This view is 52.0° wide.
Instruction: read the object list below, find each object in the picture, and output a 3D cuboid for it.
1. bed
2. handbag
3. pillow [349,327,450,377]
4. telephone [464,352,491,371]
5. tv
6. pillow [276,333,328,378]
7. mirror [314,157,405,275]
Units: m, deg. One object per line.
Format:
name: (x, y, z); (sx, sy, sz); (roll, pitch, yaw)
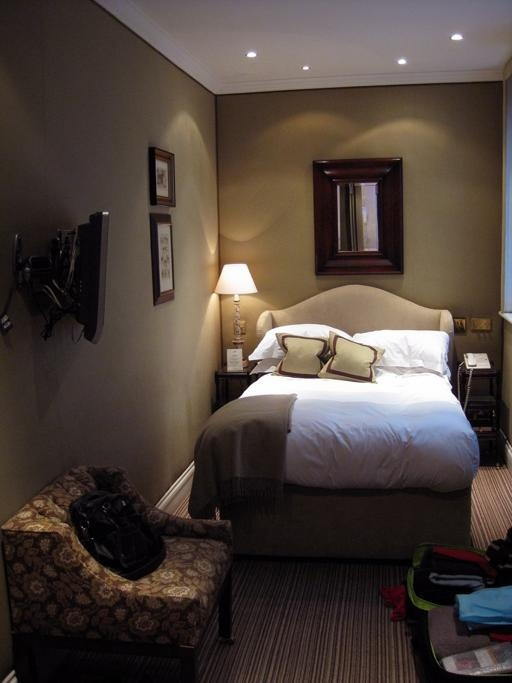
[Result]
bed: (0.638, 0.361, 3.626); (1.480, 1.558, 2.378); (0, 6, 18)
handbag: (-0.454, 0.623, 1.725); (0.343, 0.150, 0.217); (18, 14, 39)
pillow: (1.181, 0.079, 3.994); (0.432, 0.158, 0.419); (2, 20, 16)
telephone: (1.762, 0.165, 4.202); (0.119, 0.067, 0.173); (1, 14, 11)
tv: (-0.508, -0.198, 1.619); (0.039, 0.459, 0.408); (1, 10, -20)
pillow: (0.358, 0.127, 3.960); (0.425, 0.450, 0.250); (2, -5, 9)
mirror: (0.906, -1.108, 4.500); (0.814, 1.234, 0.117); (0, 7, 8)
